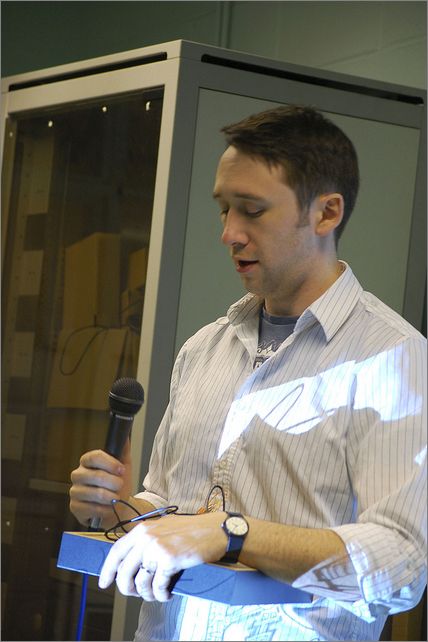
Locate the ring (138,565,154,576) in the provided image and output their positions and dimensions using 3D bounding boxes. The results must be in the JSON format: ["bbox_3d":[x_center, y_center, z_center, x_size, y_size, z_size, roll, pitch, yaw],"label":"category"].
[{"bbox_3d":[-0.087,0.327,0.756,0.013,0.013,0.013,3,-2,0],"label":"ring"}]
